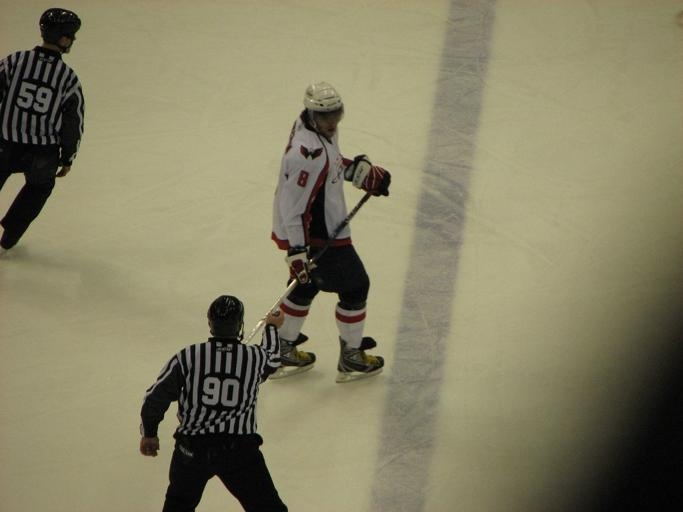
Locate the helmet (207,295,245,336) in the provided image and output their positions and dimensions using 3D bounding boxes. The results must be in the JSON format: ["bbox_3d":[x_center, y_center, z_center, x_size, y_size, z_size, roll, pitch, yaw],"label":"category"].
[{"bbox_3d":[-0.608,0.320,5.568,0.194,0.244,0.254,4,6,8],"label":"helmet"}]

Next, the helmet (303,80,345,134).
[{"bbox_3d":[-0.119,-0.850,6.113,0.220,0.293,0.265,-19,33,-37],"label":"helmet"}]

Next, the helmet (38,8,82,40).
[{"bbox_3d":[-1.749,-1.421,6.518,0.220,0.185,0.175,-3,-13,-11],"label":"helmet"}]

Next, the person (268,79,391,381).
[{"bbox_3d":[-0.075,-0.085,6.528,0.858,2.015,0.781,-10,41,-6],"label":"person"}]

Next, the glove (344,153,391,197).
[{"bbox_3d":[0.177,-0.563,6.386,0.116,0.231,0.322,-27,-27,-10],"label":"glove"}]
